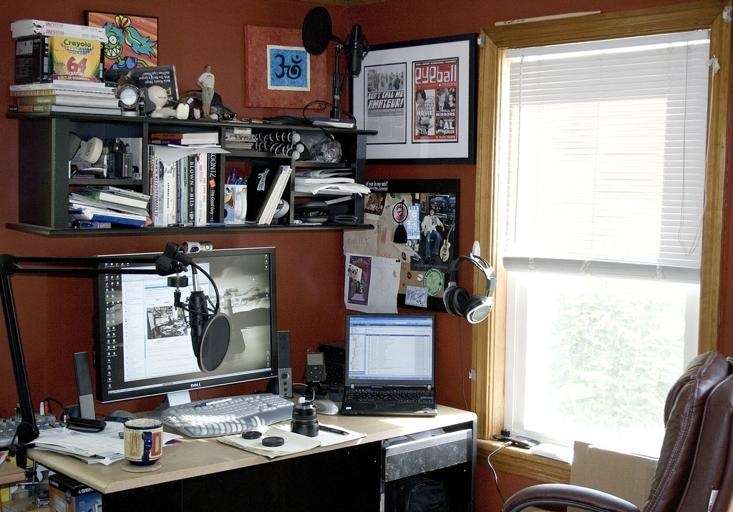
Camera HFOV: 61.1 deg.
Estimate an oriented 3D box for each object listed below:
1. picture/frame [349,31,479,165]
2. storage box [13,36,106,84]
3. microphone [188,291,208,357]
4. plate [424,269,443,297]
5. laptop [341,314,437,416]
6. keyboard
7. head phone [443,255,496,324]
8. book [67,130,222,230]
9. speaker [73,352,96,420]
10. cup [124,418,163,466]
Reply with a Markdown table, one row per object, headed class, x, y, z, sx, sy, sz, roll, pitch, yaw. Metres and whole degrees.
| class | x | y | z | sx | sy | sz | roll | pitch | yaw |
| --- | --- | --- | --- | --- | --- | --- | --- | --- | --- |
| picture/frame | 0.276 | -0.834 | 3.305 | 0.731 | 0.640 | 0.032 | 3 | 5 | 36 |
| storage box | -1.273 | -0.832 | 2.645 | 0.159 | 0.195 | 0.305 | 12 | 15 | 29 |
| microphone | -0.613 | 0.252 | 2.289 | 0.073 | 0.252 | 0.113 | -3 | 8 | -17 |
| plate | 0.366 | 0.147 | 3.331 | 0.120 | 0.149 | 0.018 | 5 | 9 | 39 |
| laptop | 0.120 | 0.517 | 3.207 | 0.507 | 0.435 | 0.411 | 1 | 6 | 3 |
| keyboard | -0.606 | 0.735 | 2.793 | 0.581 | 0.095 | 0.342 | -6 | 9 | -30 |
| head phone | 0.495 | 0.163 | 3.020 | 0.132 | 0.326 | 0.254 | -3 | 15 | -34 |
| book | -0.981 | -0.326 | 2.767 | 0.555 | 0.175 | 0.409 | 1 | -1 | -19 |
| speaker | -1.213 | 0.604 | 2.709 | 0.062 | 0.330 | 0.033 | -5 | 7 | -10 |
| cup | -0.822 | 0.711 | 2.301 | 0.131 | 0.153 | 0.193 | 3 | -1 | -23 |
